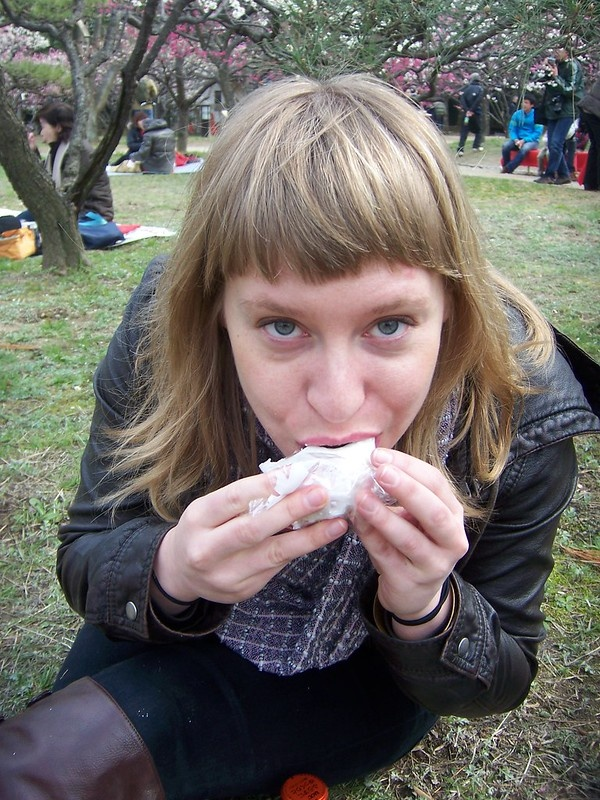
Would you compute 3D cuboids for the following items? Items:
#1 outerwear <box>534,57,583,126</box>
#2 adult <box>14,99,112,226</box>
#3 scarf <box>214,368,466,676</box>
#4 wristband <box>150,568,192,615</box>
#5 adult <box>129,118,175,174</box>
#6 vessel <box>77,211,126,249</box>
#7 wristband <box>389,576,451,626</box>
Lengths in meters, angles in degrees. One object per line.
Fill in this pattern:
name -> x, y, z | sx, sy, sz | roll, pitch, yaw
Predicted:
outerwear -> 2.080, -2.394, 5.168 | 0.345, 0.544, 0.291 | 10, -2, 27
adult -> -3.111, -2.934, 8.452 | 1.319, 1.512, 1.145 | -1, 7, -5
scarf -> 0.177, 0.307, 1.645 | 0.518, 0.672, 0.207 | 36, 14, 20
wristband -> -0.261, 0.393, 1.384 | 0.097, 0.088, 0.069 | 4, -7, 2
adult -> -3.448, -5.823, 15.076 | 0.968, 1.197, 1.014 | 28, 41, 21
vessel -> -2.324, -1.923, 7.753 | 0.619, 0.437, 0.218 | 11, -22, -31
wristband -> 0.221, 0.372, 1.229 | 0.111, 0.138, 0.053 | 4, -1, 5
